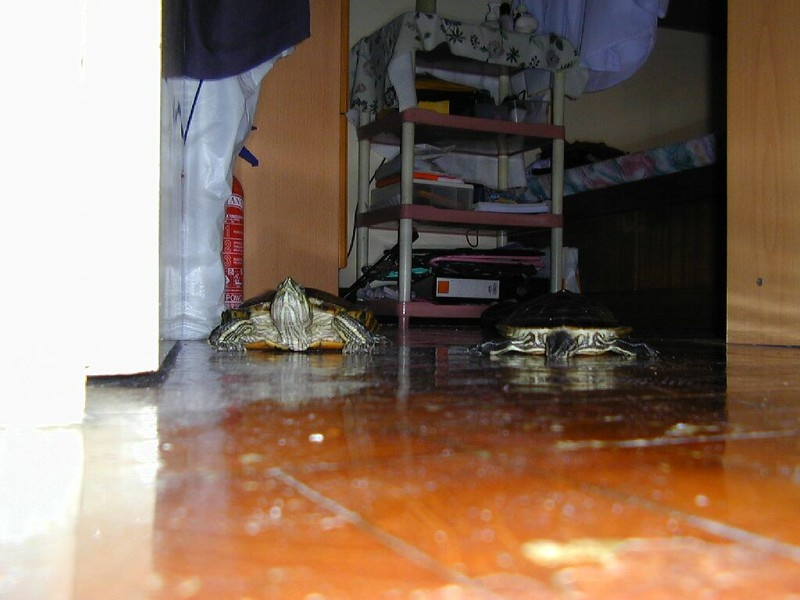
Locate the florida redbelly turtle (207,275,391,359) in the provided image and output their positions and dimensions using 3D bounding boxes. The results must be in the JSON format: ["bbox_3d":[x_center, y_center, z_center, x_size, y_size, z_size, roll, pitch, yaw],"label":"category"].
[{"bbox_3d":[-0.293,0.067,1.747,0.407,0.176,0.555,0,-4,-6],"label":"florida redbelly turtle"}]

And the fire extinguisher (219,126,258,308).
[{"bbox_3d":[-0.536,-0.283,2.081,0.112,0.538,0.130,-8,20,-34],"label":"fire extinguisher"}]

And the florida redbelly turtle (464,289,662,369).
[{"bbox_3d":[0.430,0.070,1.676,0.443,0.176,0.523,1,4,14],"label":"florida redbelly turtle"}]

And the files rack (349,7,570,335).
[{"bbox_3d":[0.212,-0.701,3.259,1.095,1.644,0.804,-6,13,-28],"label":"files rack"}]
